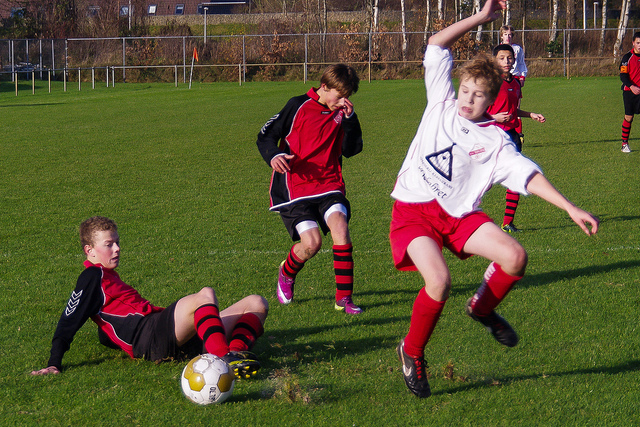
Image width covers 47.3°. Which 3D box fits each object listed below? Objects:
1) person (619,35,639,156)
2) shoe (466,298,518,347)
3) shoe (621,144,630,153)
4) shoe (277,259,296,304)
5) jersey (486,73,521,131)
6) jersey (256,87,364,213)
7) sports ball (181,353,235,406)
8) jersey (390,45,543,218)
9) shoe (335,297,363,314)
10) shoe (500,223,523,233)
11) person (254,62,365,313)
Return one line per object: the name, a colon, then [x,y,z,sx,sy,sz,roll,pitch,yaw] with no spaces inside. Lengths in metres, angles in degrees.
person: [6.424,-2.512,15.203,0.378,2.323,1.563,5,15,21]
shoe: [1.745,1.058,7.433,0.245,0.295,0.667,-42,63,-17]
shoe: [6.302,-1.345,15.099,0.163,0.134,0.280,7,18,23]
shoe: [-0.416,0.827,8.688,0.158,0.525,0.203,-3,3,-31]
jersey: [2.432,-1.471,9.729,0.434,1.210,1.102,1,2,9]
jersey: [-0.129,-0.753,8.663,1.219,1.417,0.499,-2,14,-9]
sports ball: [-1.071,1.599,7.102,0.459,0.512,0.437,31,-12,7]
jersey: [1.435,-0.823,7.384,1.267,1.620,0.587,5,15,17]
shoe: [0.336,1.074,8.513,0.310,0.153,0.129,6,5,37]
shoe: [2.831,0.213,10.813,0.304,0.094,0.376,5,17,14]
person: [-0.080,-0.333,8.596,1.170,2.738,0.880,1,14,4]
